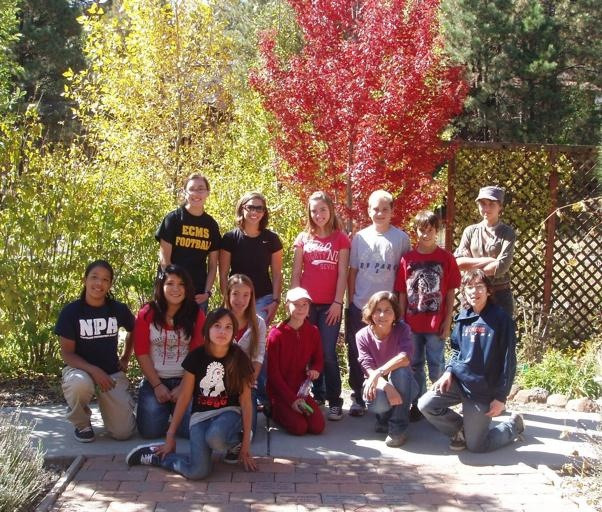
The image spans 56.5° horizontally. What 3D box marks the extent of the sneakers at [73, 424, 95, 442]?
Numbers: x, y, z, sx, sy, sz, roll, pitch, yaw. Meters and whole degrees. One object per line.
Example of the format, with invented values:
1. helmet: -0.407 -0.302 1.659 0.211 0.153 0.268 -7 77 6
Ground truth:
1. sneakers: -1.607 1.327 4.178 0.069 0.088 0.186 -2 5 -41

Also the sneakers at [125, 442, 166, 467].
1. sneakers: -1.082 1.383 3.864 0.296 0.124 0.123 -16 21 -18

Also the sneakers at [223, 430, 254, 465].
1. sneakers: -0.454 1.412 4.063 0.109 0.154 0.321 -2 -7 6

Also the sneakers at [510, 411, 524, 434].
1. sneakers: 1.688 1.298 4.358 0.069 0.215 0.085 -7 17 25

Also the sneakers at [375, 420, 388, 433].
1. sneakers: 0.657 1.377 4.522 0.068 0.122 0.113 0 -3 -40
